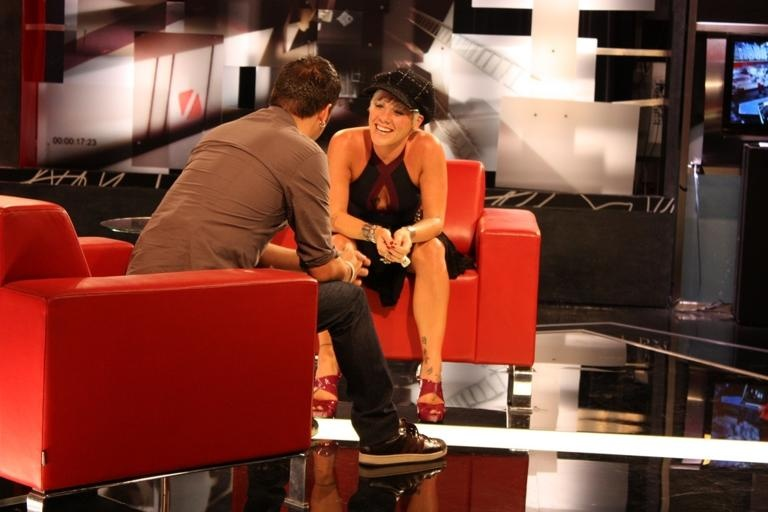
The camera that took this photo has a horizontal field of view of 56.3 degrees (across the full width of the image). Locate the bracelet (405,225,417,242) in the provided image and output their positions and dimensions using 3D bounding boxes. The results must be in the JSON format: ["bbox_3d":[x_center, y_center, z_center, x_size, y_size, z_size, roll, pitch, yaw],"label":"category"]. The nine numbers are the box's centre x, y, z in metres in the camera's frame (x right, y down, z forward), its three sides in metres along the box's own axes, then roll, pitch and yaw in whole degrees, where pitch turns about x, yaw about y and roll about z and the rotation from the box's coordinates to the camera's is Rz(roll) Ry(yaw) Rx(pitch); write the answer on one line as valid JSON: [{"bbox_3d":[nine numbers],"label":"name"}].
[{"bbox_3d":[0.129,-0.103,3.284,0.042,0.061,0.067,-5,31,-14],"label":"bracelet"}]

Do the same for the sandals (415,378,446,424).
[{"bbox_3d":[0.219,0.662,3.338,0.126,0.242,0.162,4,-22,-5],"label":"sandals"}]

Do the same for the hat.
[{"bbox_3d":[0.081,-0.788,3.381,0.299,0.210,0.420,17,-1,10],"label":"hat"}]

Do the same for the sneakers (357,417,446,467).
[{"bbox_3d":[0.095,0.771,2.981,0.425,0.206,0.143,-1,4,-16],"label":"sneakers"}]

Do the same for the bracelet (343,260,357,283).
[{"bbox_3d":[-0.136,0.060,2.850,0.030,0.060,0.078,-8,21,-8],"label":"bracelet"}]

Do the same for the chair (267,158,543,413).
[{"bbox_3d":[0.157,0.068,3.767,1.180,1.139,0.665,4,11,4],"label":"chair"}]
